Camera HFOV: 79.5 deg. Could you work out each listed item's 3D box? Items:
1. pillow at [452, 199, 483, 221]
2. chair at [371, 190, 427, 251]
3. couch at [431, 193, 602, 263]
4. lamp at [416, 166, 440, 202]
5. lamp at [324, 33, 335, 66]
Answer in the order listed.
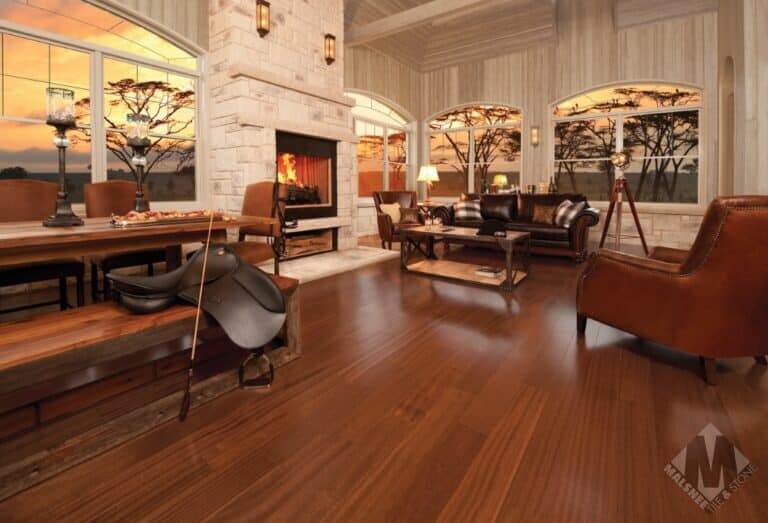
[{"bbox_3d":[1.425,-0.848,7.674,0.439,0.376,0.127,-3,-6,14],"label":"pillow"},{"bbox_3d":[0.269,-0.692,7.469,0.793,0.851,0.836,-7,15,-25],"label":"chair"},{"bbox_3d":[2.069,-0.602,7.275,2.446,0.863,0.726,6,19,31],"label":"couch"},{"bbox_3d":[0.871,-1.487,8.809,0.474,0.689,0.446,0,7,10],"label":"lamp"},{"bbox_3d":[-0.746,-2.988,6.474,0.103,0.385,0.148,7,15,32],"label":"lamp"}]
